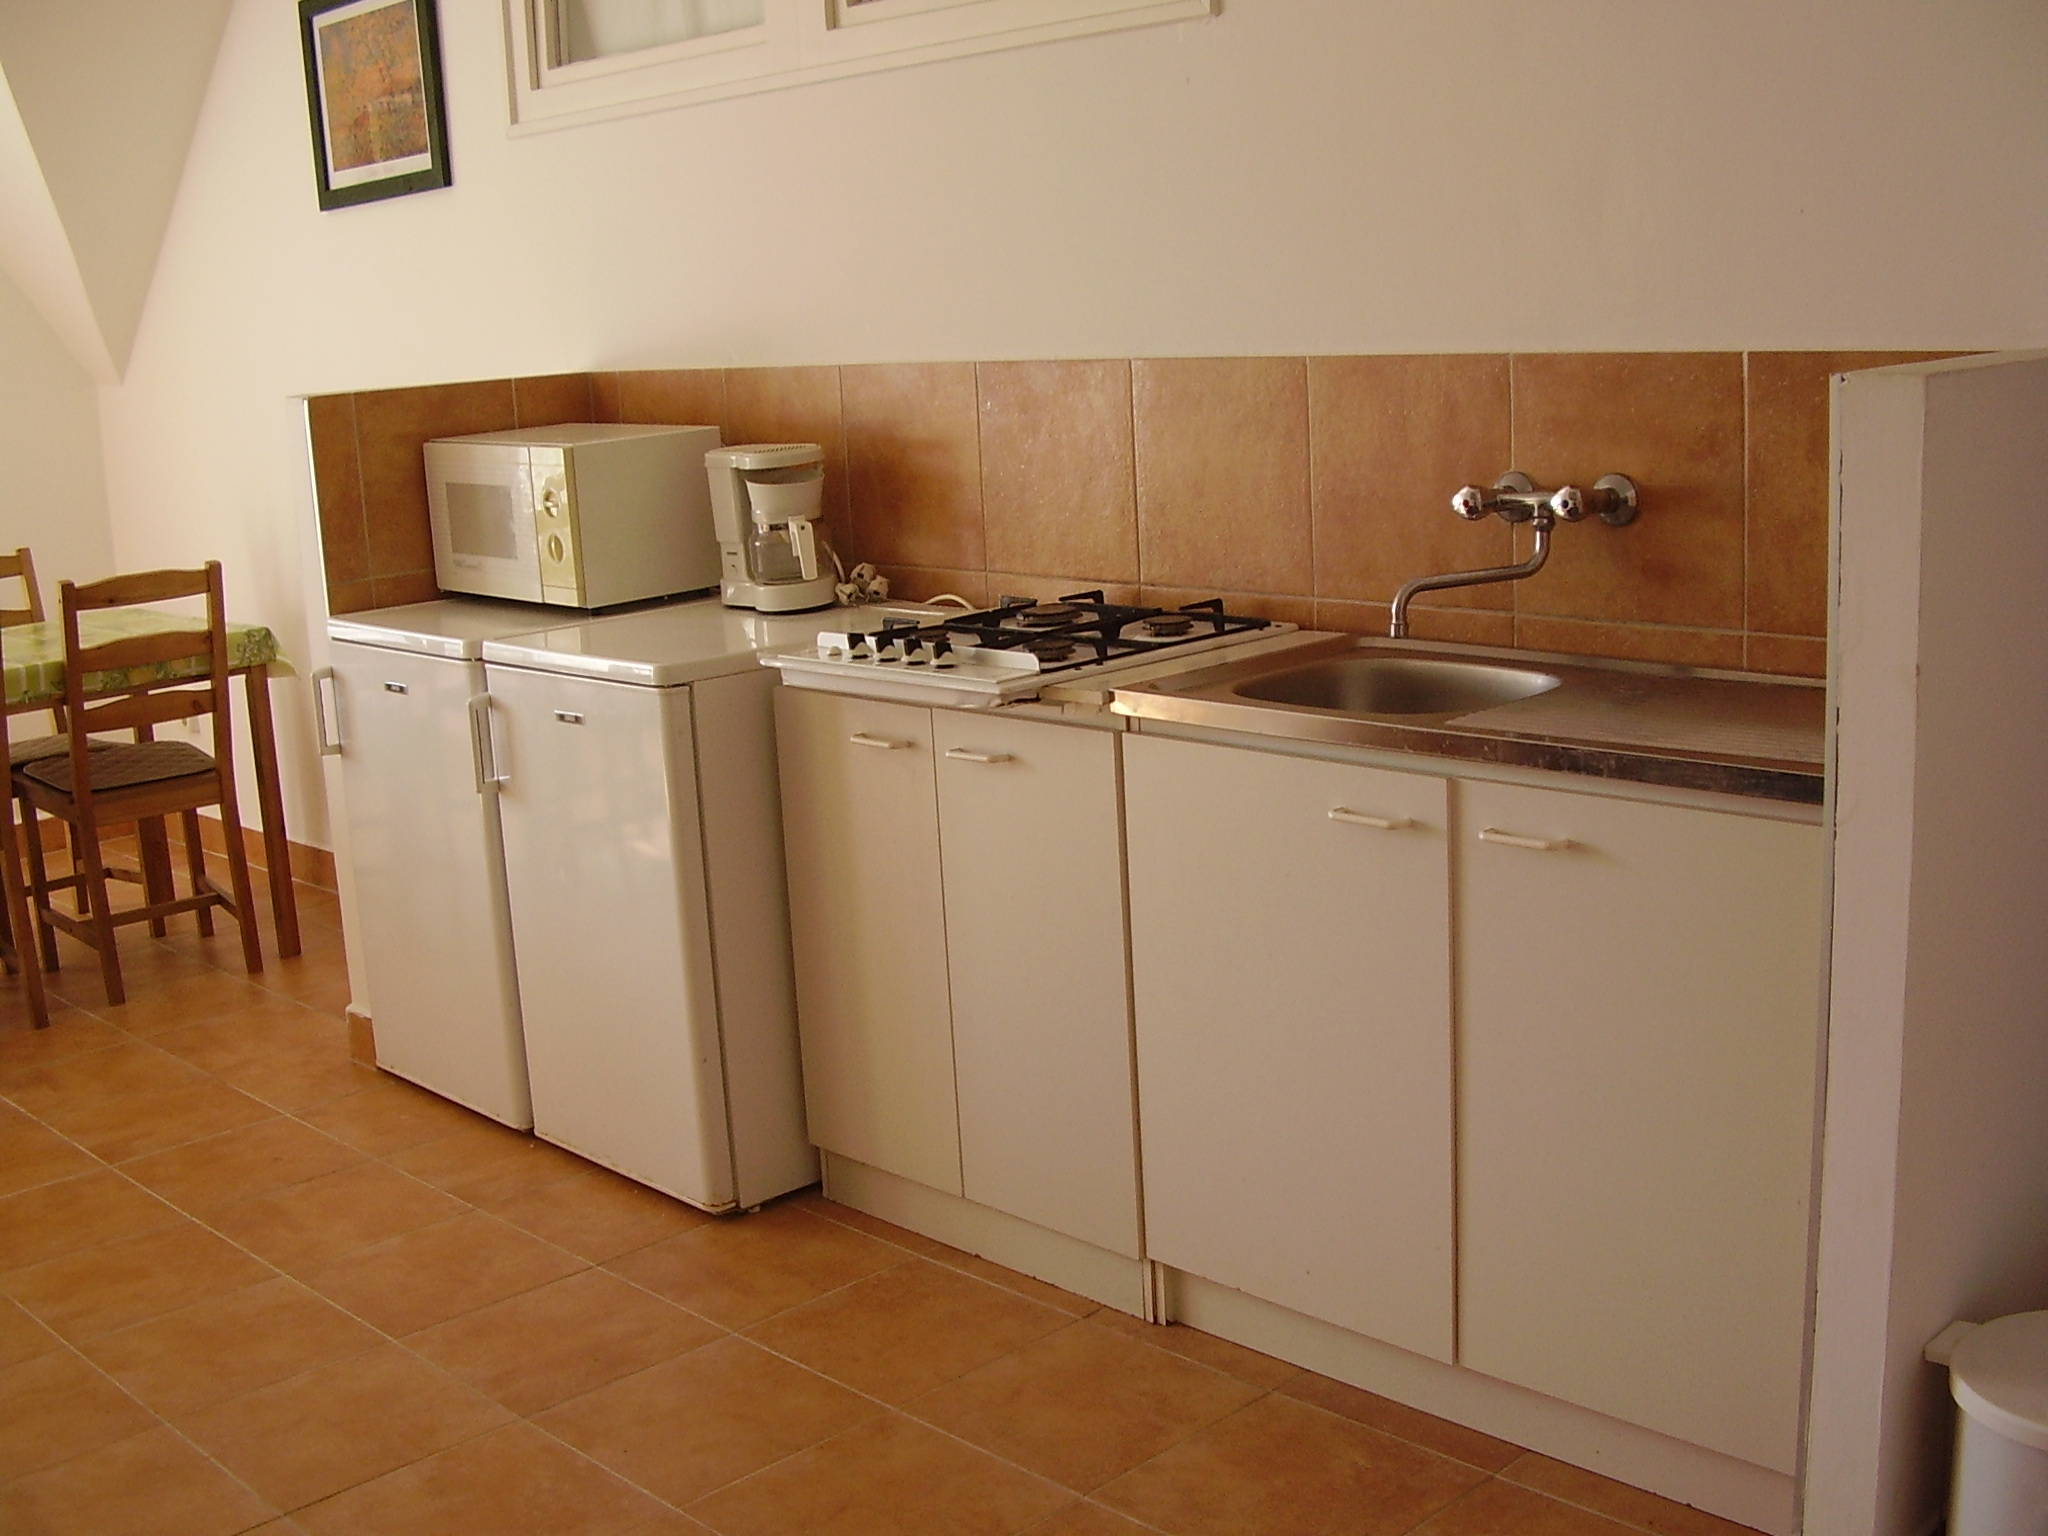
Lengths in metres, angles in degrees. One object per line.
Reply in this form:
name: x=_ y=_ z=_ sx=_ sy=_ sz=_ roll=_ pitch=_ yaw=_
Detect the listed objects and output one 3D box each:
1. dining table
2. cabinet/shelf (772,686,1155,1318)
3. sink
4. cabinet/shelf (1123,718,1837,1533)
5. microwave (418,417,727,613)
dining table: x=-2.588 y=0.060 z=5.074 sx=1.056 sy=1.034 sz=1.172 roll=-7 pitch=10 yaw=-44
cabinet/shelf: x=-0.131 y=0.331 z=2.906 sx=0.202 sy=0.911 sz=0.806 roll=-16 pitch=18 yaw=-39
sink: x=0.474 y=-0.130 z=2.633 sx=0.307 sy=0.138 sz=0.355 roll=4 pitch=12 yaw=35
cabinet/shelf: x=0.659 y=0.492 z=2.270 sx=1.058 sy=0.837 sz=0.407 roll=9 pitch=16 yaw=41
microwave: x=-1.027 y=-0.575 z=3.759 sx=0.648 sy=0.420 sz=0.459 roll=12 pitch=19 yaw=42
